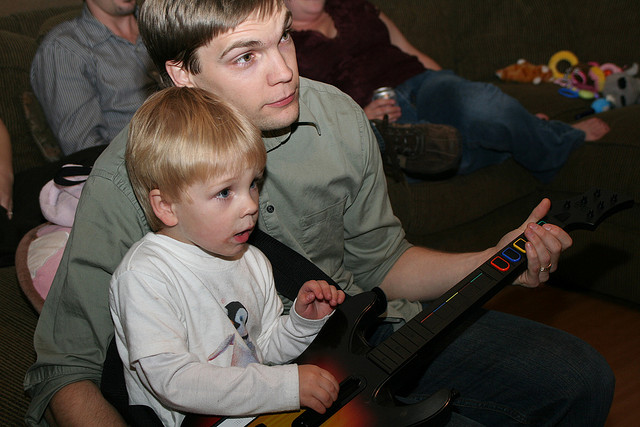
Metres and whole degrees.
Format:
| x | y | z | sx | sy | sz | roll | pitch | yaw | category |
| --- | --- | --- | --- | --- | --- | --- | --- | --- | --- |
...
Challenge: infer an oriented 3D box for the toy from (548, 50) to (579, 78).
| x | y | z | sx | sy | sz | roll | pitch | yaw | category |
| --- | --- | --- | --- | --- | --- | --- | --- | --- | --- |
| 1.360 | -0.829 | 3.184 | 0.168 | 0.193 | 0.048 | -3 | -2 | 16 | toy |

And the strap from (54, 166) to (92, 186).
| x | y | z | sx | sy | sz | roll | pitch | yaw | category |
| --- | --- | --- | --- | --- | --- | --- | --- | --- | --- |
| -0.850 | -0.129 | 1.970 | 0.111 | 0.072 | 0.028 | -11 | -9 | -8 | strap |

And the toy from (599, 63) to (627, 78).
| x | y | z | sx | sy | sz | roll | pitch | yaw | category |
| --- | --- | --- | --- | --- | --- | --- | --- | --- | --- |
| 1.548 | -0.763 | 3.007 | 0.098 | 0.035 | 0.108 | 3 | 40 | 21 | toy |

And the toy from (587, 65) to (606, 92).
| x | y | z | sx | sy | sz | roll | pitch | yaw | category |
| --- | --- | --- | --- | --- | --- | --- | --- | --- | --- |
| 1.444 | -0.707 | 3.016 | 0.031 | 0.119 | 0.103 | -12 | 11 | 29 | toy |

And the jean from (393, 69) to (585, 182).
| x | y | z | sx | sy | sz | roll | pitch | yaw | category |
| --- | --- | --- | --- | --- | --- | --- | --- | --- | --- |
| 0.761 | -0.438 | 2.751 | 0.733 | 0.325 | 0.524 | 7 | 25 | 23 | jean |

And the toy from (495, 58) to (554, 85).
| x | y | z | sx | sy | sz | roll | pitch | yaw | category |
| --- | --- | --- | --- | --- | --- | --- | --- | --- | --- |
| 1.149 | -0.858 | 3.322 | 0.339 | 0.144 | 0.311 | -7 | 31 | -22 | toy |

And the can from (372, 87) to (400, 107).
| x | y | z | sx | sy | sz | roll | pitch | yaw | category |
| --- | --- | --- | --- | --- | --- | --- | --- | --- | --- |
| 0.313 | -0.589 | 2.809 | 0.097 | 0.123 | 0.106 | -3 | 24 | 1 | can |

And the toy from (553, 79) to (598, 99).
| x | y | z | sx | sy | sz | roll | pitch | yaw | category |
| --- | --- | --- | --- | --- | --- | --- | --- | --- | --- |
| 1.377 | -0.677 | 3.057 | 0.153 | 0.046 | 0.094 | 23 | 26 | 21 | toy |

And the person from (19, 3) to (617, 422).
| x | y | z | sx | sy | sz | roll | pitch | yaw | category |
| --- | --- | --- | --- | --- | --- | --- | --- | --- | --- |
| -0.036 | 0.016 | 2.008 | 0.780 | 0.977 | 1.365 | 12 | 37 | 46 | person |

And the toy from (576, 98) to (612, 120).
| x | y | z | sx | sy | sz | roll | pitch | yaw | category |
| --- | --- | --- | --- | --- | --- | --- | --- | --- | --- |
| 1.385 | -0.525 | 2.888 | 0.180 | 0.027 | 0.108 | -26 | 47 | -14 | toy |
